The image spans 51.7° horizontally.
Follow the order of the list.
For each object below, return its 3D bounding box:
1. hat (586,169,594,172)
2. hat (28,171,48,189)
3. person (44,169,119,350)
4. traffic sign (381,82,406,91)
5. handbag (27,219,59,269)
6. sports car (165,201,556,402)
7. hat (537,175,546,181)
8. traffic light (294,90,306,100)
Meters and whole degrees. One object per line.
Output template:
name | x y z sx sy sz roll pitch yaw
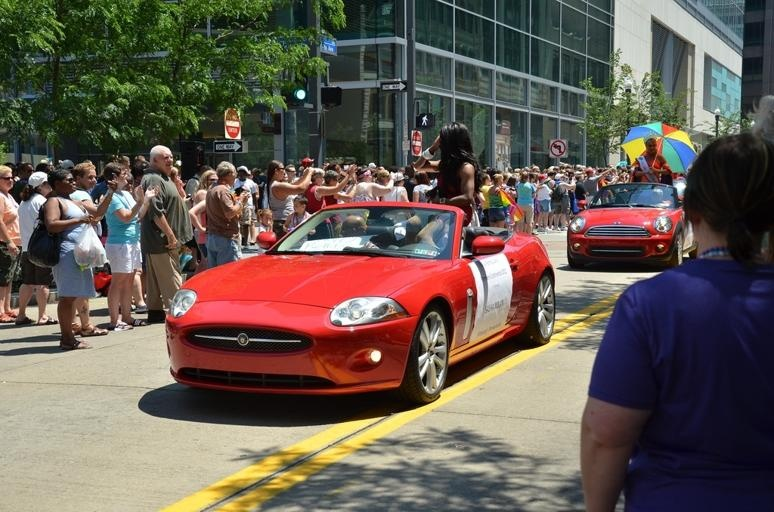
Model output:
hat | 6.848 -2.909 27.233 0.242 0.133 0.385 3 8 24
hat | -4.453 -0.998 10.434 0.184 0.149 0.274 7 33 35
person | -3.607 0.023 9.406 0.649 2.052 0.843 0 3 -10
traffic sign | 0.212 -5.103 24.167 0.408 0.182 0.424 1 4 9
handbag | -3.873 -0.130 9.108 0.421 0.510 0.246 3 4 35
sports car | 0.118 0.308 7.668 1.624 1.194 3.371 0 -1 26
hat | 5.046 -2.563 26.206 0.196 0.172 0.216 3 8 5
traffic light | -2.061 -3.862 19.135 0.270 0.238 0.165 0 3 -6
